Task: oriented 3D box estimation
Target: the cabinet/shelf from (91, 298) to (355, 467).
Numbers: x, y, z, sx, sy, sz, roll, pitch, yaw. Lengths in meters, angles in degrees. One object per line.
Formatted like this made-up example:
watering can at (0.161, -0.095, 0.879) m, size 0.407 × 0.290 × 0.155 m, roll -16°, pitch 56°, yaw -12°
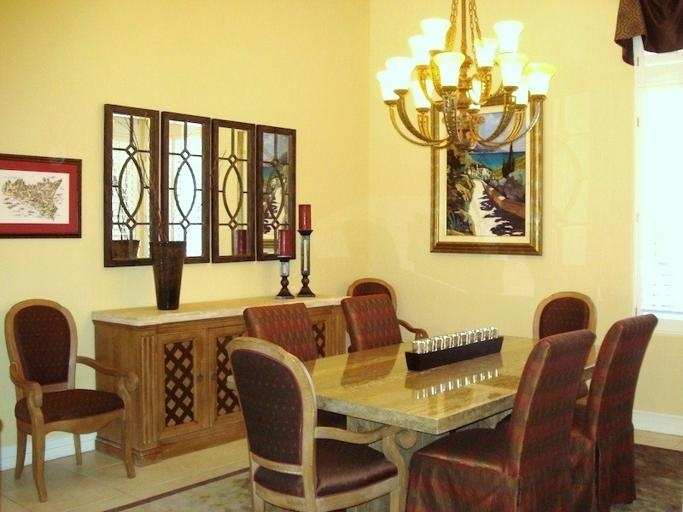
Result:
cabinet/shelf at (-0.972, 0.988, 5.028) m, size 0.563 × 1.190 × 2.142 m, roll 6°, pitch 5°, yaw 40°

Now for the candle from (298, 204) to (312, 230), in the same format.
candle at (-0.353, -0.375, 5.440) m, size 0.109 × 0.252 × 0.112 m, roll -1°, pitch 4°, yaw -15°

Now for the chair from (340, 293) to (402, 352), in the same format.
chair at (0.252, 0.442, 4.233) m, size 0.382 × 0.624 × 0.397 m, roll -2°, pitch 1°, yaw -34°

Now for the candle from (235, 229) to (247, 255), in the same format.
candle at (-0.936, -0.136, 5.296) m, size 0.027 × 0.237 × 0.128 m, roll 3°, pitch 5°, yaw 38°

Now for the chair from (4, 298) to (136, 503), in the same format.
chair at (-1.917, 0.939, 4.038) m, size 0.794 × 1.234 × 0.796 m, roll -3°, pitch 5°, yaw -34°

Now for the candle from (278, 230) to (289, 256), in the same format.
candle at (-0.546, -0.130, 5.435) m, size 0.126 × 0.262 × 0.272 m, roll -1°, pitch 4°, yaw -7°

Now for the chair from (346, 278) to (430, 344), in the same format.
chair at (0.557, 0.505, 5.835) m, size 0.542 × 1.048 × 0.691 m, roll -2°, pitch 1°, yaw -23°
